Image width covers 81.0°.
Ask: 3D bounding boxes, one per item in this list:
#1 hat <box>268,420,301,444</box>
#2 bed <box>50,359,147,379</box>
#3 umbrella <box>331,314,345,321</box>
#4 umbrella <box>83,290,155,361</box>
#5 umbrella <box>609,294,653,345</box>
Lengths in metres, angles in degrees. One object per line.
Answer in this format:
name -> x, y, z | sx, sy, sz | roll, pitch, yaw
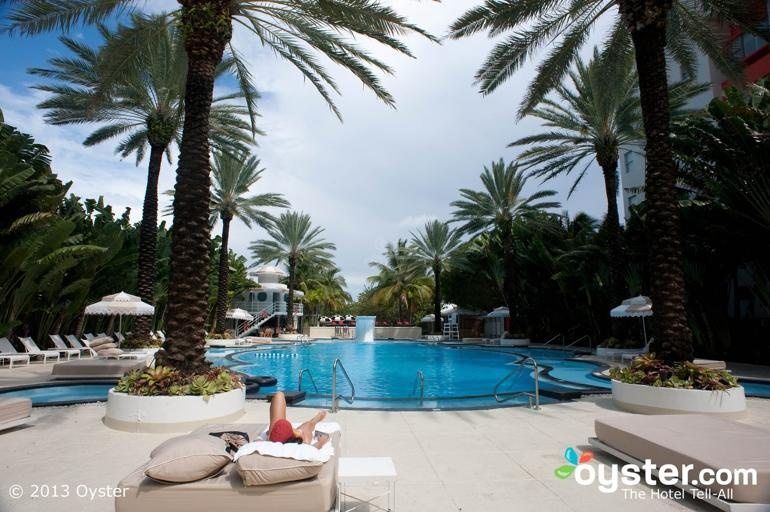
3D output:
hat -> -1.596, 2.806, 7.253 | 0.458, 0.203, 0.349 | 8, 1, -23
bed -> -9.856, 3.884, 15.648 | 2.695, 0.555, 1.271 | 0, -11, -1
umbrella -> -6.495, 8.346, 61.848 | 1.715, 0.627, 1.735 | 0, -7, -5
umbrella -> -11.636, 2.568, 19.845 | 2.105, 1.838, 2.073 | 7, -1, -45
umbrella -> 11.099, 2.562, 20.263 | 1.583, 1.928, 1.570 | -2, -10, 16
